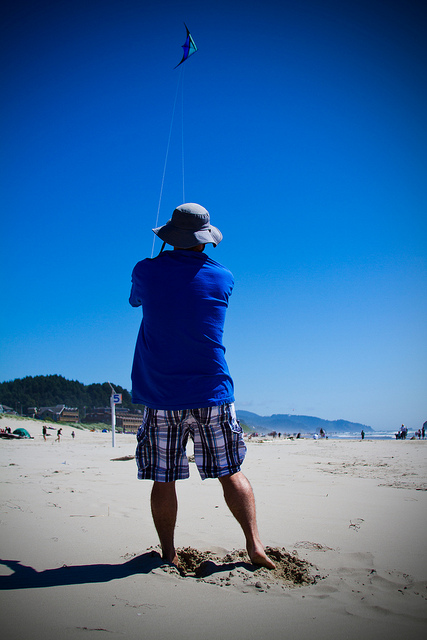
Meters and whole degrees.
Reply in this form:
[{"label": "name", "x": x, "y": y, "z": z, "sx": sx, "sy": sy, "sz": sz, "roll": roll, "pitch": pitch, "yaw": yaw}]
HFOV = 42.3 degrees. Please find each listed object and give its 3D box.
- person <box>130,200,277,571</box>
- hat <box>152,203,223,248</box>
[{"label": "person", "x": -0.095, "y": 0.277, "z": 2.708, "sx": 0.663, "sy": 1.753, "sz": 0.347, "roll": 1, "pitch": -7, "yaw": -6}, {"label": "hat", "x": -0.132, "y": -0.514, "z": 2.878, "sx": 0.377, "sy": 0.206, "sz": 0.404, "roll": 1, "pitch": 23, "yaw": -14}]
